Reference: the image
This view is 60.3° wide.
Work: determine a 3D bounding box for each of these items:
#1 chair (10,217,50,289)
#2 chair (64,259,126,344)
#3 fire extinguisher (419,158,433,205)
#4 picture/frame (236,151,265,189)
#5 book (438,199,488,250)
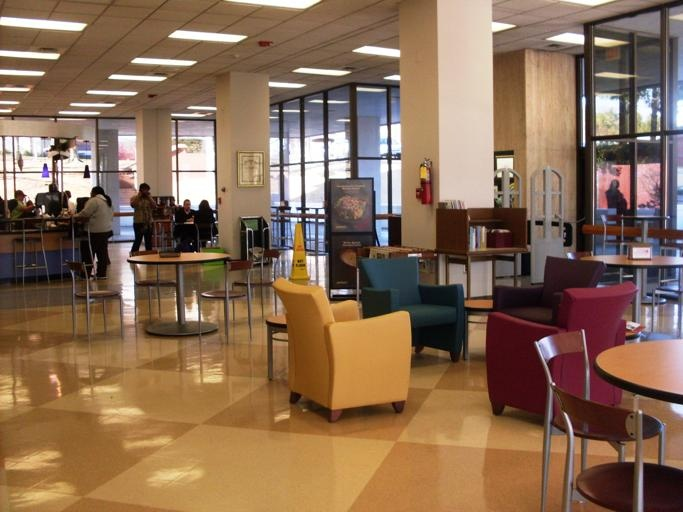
[{"bbox_3d":[-6.575,-0.368,12.189,0.644,0.729,1.693,-9,-34,-30],"label":"chair"},{"bbox_3d":[-3.255,0.561,7.749,0.716,0.943,0.678,1,1,-21],"label":"chair"},{"bbox_3d":[1.234,-1.071,8.601,0.196,0.665,0.172,-8,12,-39],"label":"fire extinguisher"},{"bbox_3d":[-2.138,-2.005,13.503,0.863,1.001,0.068,-2,3,-33],"label":"picture/frame"},{"bbox_3d":[1.723,-0.374,8.540,0.599,0.677,0.880,1,4,34],"label":"book"}]
